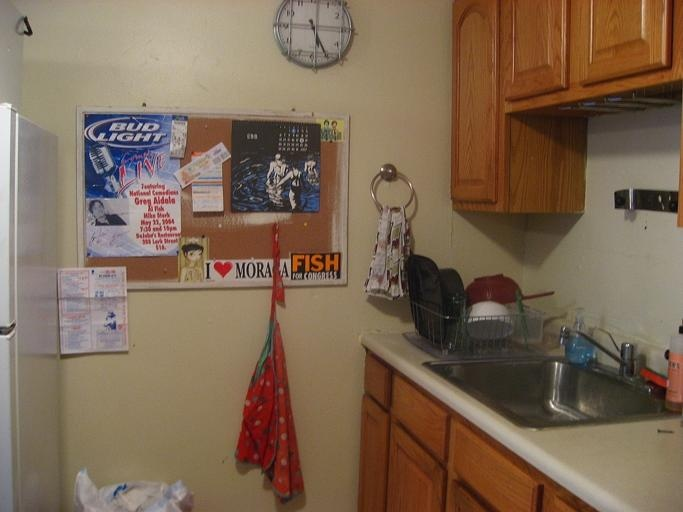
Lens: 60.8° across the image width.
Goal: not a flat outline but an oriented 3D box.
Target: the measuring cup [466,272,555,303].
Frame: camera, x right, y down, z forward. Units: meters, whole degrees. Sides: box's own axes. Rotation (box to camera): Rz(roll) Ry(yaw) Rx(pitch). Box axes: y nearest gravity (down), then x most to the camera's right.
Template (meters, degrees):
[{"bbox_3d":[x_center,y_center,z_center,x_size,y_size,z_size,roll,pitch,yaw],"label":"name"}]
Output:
[{"bbox_3d":[0.715,0.122,2.613,0.361,0.128,0.306,-1,9,-26],"label":"measuring cup"}]

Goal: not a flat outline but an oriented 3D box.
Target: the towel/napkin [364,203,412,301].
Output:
[{"bbox_3d":[0.207,-0.014,2.658,0.197,0.410,0.095,-1,5,2],"label":"towel/napkin"}]

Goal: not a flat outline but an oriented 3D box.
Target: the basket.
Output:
[{"bbox_3d":[0.610,0.323,2.491,0.400,0.156,0.307,-1,1,-13],"label":"basket"}]

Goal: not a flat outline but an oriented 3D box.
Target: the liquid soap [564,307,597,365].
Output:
[{"bbox_3d":[0.967,0.332,2.344,0.060,0.234,0.109,1,7,-9],"label":"liquid soap"}]

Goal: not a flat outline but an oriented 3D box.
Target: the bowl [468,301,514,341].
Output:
[{"bbox_3d":[0.614,0.278,2.410,0.146,0.125,0.162,1,14,9],"label":"bowl"}]

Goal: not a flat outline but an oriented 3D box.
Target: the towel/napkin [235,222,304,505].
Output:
[{"bbox_3d":[-0.333,0.659,2.646,0.251,1.613,0.207,0,0,-2],"label":"towel/napkin"}]
